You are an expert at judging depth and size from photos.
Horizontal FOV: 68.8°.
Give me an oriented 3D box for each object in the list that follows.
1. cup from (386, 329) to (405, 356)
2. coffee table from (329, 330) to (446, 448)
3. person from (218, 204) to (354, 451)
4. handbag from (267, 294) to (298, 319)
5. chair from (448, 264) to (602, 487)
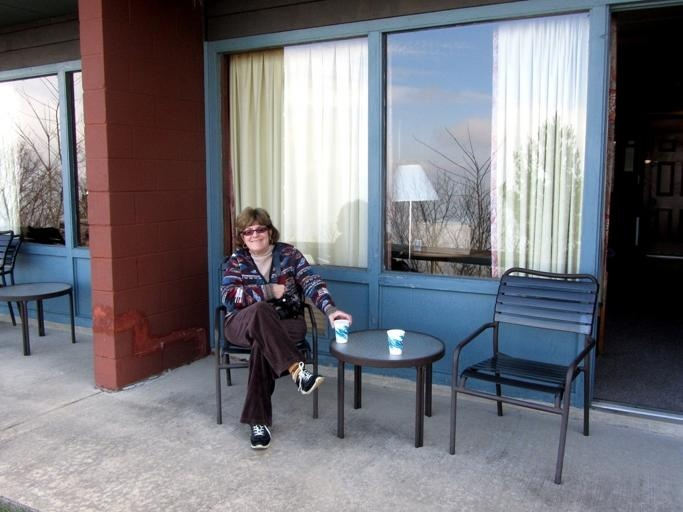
[{"bbox_3d":[0.352,0.562,3.289,0.136,0.153,0.138,1,8,0],"label":"cup"},{"bbox_3d":[0.326,0.906,3.566,0.814,0.634,0.841,1,-2,25],"label":"coffee table"},{"bbox_3d":[-0.455,0.444,3.571,0.771,1.500,0.973,-3,12,-14],"label":"person"},{"bbox_3d":[-0.416,0.393,3.731,0.137,0.079,0.195,-11,-1,-39],"label":"handbag"},{"bbox_3d":[1.246,0.767,3.300,0.864,1.189,0.758,-13,14,-43],"label":"chair"}]
